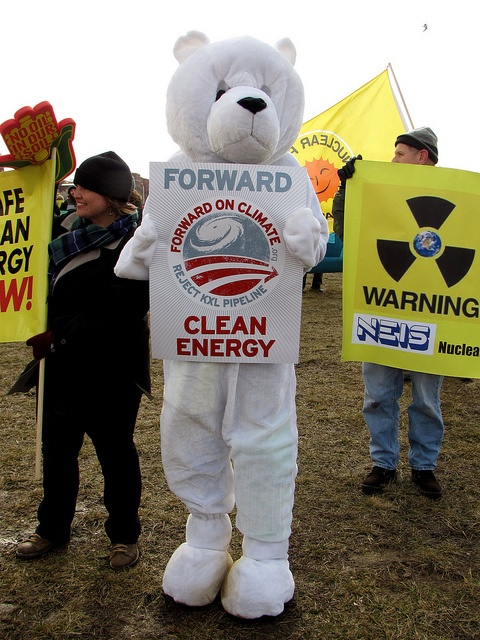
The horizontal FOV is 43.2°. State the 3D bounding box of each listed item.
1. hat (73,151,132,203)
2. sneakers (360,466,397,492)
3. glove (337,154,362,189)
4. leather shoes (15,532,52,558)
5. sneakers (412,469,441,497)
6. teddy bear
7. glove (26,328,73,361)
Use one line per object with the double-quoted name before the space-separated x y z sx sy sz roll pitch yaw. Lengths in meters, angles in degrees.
"hat" -0.553 -0.607 2.501 0.273 0.187 0.251 14 18 -18
"sneakers" 0.725 0.846 3.202 0.083 0.091 0.246 -10 -10 36
"glove" 0.525 -0.719 2.923 0.100 0.148 0.190 2 10 9
"leather shoes" -0.866 0.959 2.553 0.058 0.060 0.154 -4 -17 29
"sneakers" 0.970 0.856 3.157 0.072 0.070 0.180 -10 6 -8
"teddy bear" -0.050 -0.005 2.171 0.645 2.075 0.520 3 11 14
"glove" -0.774 0.108 2.394 0.149 0.122 0.102 8 13 38
